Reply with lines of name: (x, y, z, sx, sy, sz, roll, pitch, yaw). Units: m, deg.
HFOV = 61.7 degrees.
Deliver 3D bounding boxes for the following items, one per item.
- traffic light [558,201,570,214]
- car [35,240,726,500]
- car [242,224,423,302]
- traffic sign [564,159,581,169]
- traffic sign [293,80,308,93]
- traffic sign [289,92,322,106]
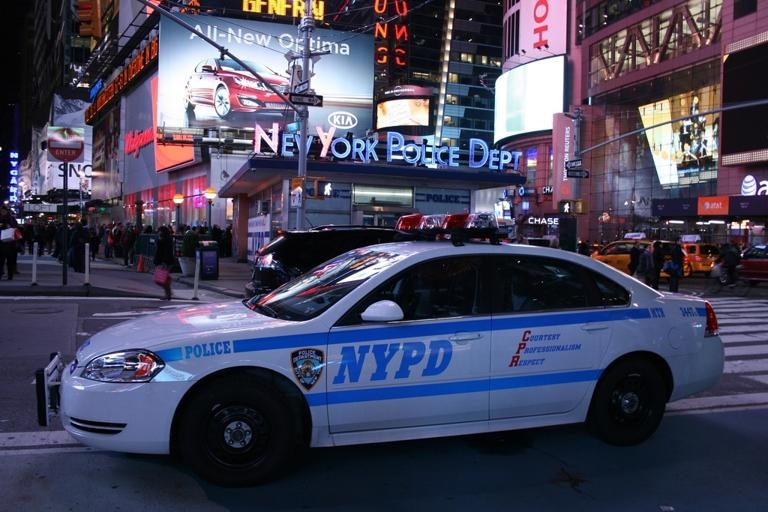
traffic light: (10.775, -2.935, 38.327, 0.863, 0.832, 0.609, 1, 16, 8)
car: (0.133, 1.169, 7.669, 6.385, 2.070, 2.832, 1, -3, -14)
car: (-1.257, 0.032, 12.881, 2.993, 1.091, 1.376, -3, 4, -16)
traffic sign: (8.593, -4.231, 29.170, 0.869, 0.470, 0.503, -3, 7, -34)
traffic sign: (-2.636, -5.481, 20.724, 0.522, 0.194, 0.366, -26, 21, -20)
traffic sign: (-2.448, -4.945, 20.006, 1.000, 0.404, 0.854, 0, 6, -11)
